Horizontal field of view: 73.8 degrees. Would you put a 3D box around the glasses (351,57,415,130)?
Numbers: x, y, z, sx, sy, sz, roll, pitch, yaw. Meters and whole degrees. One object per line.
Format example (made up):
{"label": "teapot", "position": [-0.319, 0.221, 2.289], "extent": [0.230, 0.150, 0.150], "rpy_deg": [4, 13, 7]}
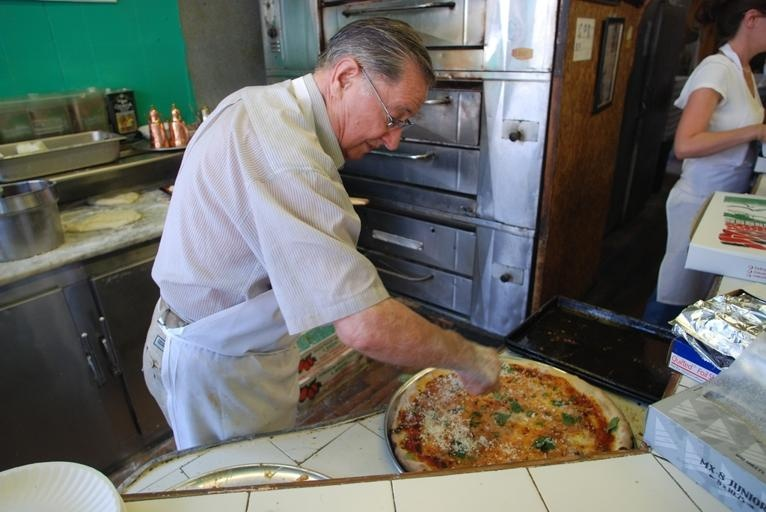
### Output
{"label": "glasses", "position": [-0.003, -0.542, 1.758], "extent": [0.055, 0.182, 0.179], "rpy_deg": [-8, 15, 43]}

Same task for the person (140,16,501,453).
{"label": "person", "position": [-0.346, 0.034, 1.781], "extent": [1.185, 1.543, 0.766], "rpy_deg": [-6, 27, -10]}

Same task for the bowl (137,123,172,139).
{"label": "bowl", "position": [-1.580, -0.852, 3.488], "extent": [0.169, 0.171, 0.116], "rpy_deg": [-2, 2, 19]}

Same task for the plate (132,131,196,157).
{"label": "plate", "position": [-1.380, -0.697, 3.176], "extent": [0.396, 0.057, 0.386], "rpy_deg": [3, 32, -1]}

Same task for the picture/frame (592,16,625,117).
{"label": "picture/frame", "position": [1.269, -1.092, 2.885], "extent": [0.032, 0.479, 0.426], "rpy_deg": [21, 51, 29]}
